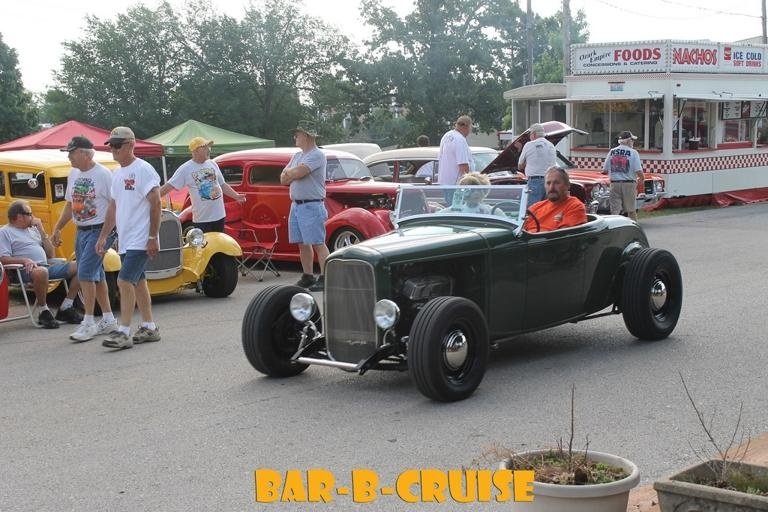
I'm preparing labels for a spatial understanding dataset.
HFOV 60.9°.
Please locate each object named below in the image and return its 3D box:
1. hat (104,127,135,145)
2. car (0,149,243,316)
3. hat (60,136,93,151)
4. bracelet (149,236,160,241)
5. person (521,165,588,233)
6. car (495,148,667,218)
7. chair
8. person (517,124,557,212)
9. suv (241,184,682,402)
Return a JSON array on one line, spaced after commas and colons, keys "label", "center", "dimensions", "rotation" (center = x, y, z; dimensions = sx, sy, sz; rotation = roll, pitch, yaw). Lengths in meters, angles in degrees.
[{"label": "hat", "center": [-3.127, -1.442, 7.955], "dimensions": [0.309, 0.230, 0.435], "rotation": [4, 5, 43]}, {"label": "car", "center": [-4.460, -0.554, 10.674], "dimensions": [3.765, 1.848, 2.178], "rotation": [3, 8, 31]}, {"label": "hat", "center": [-3.910, -1.411, 8.331], "dimensions": [0.335, 0.160, 0.219], "rotation": [0, 5, -32]}, {"label": "bracelet", "center": [-2.741, -0.206, 7.847], "dimensions": [0.088, 0.073, 0.138], "rotation": [4, 12, 33]}, {"label": "person", "center": [1.965, -0.627, 7.475], "dimensions": [0.534, 0.769, 0.879], "rotation": [0, 3, -39]}, {"label": "car", "center": [4.758, -1.910, 17.445], "dimensions": [4.492, 1.390, 2.690], "rotation": [3, -5, 34]}, {"label": "chair", "center": [-2.563, -0.260, 12.559], "dimensions": [1.013, 1.397, 1.062], "rotation": [5, 10, 23]}, {"label": "person", "center": [3.268, -1.604, 13.755], "dimensions": [0.779, 2.325, 0.808], "rotation": [-15, 20, -31]}, {"label": "suv", "center": [1.157, 0.279, 7.105], "dimensions": [3.997, 1.673, 2.310], "rotation": [-6, 3, -42]}]
